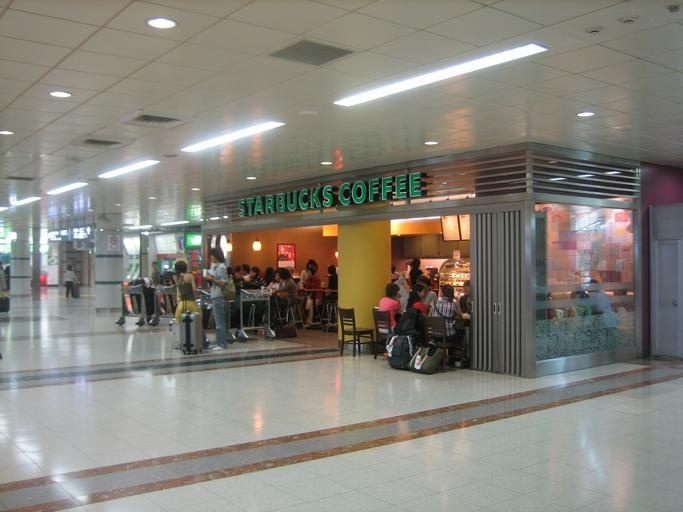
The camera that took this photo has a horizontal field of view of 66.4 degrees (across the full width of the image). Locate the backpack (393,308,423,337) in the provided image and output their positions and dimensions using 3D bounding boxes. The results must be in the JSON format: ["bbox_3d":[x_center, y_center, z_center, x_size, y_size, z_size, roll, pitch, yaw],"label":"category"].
[{"bbox_3d":[1.180,1.174,9.106,0.560,0.458,0.303,2,-14,37],"label":"backpack"}]

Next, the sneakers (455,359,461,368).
[{"bbox_3d":[2.121,1.935,9.325,0.132,0.108,0.101,-1,-5,19],"label":"sneakers"}]

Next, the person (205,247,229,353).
[{"bbox_3d":[-2.613,0.918,11.104,0.419,2.120,0.560,-2,-3,-13],"label":"person"}]

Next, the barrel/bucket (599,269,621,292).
[{"bbox_3d":[4.977,0.444,9.618,0.465,0.355,0.446,-2,7,0],"label":"barrel/bucket"}]

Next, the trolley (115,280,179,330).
[{"bbox_3d":[-5.513,1.450,16.016,2.073,1.146,1.970,4,-5,-42],"label":"trolley"}]

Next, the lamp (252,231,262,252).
[{"bbox_3d":[-2.657,-0.413,16.575,0.340,0.622,0.754,-2,-3,-8],"label":"lamp"}]

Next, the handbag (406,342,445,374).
[{"bbox_3d":[1.433,1.738,8.678,0.661,0.478,0.449,9,-9,-31],"label":"handbag"}]

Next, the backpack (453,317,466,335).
[{"bbox_3d":[2.057,1.222,9.092,0.258,0.372,0.219,-1,28,4],"label":"backpack"}]

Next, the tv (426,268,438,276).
[{"bbox_3d":[2.813,0.491,15.990,0.397,0.285,0.231,0,-11,-3],"label":"tv"}]

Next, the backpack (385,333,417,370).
[{"bbox_3d":[1.082,1.612,9.311,0.549,0.607,0.714,2,11,11],"label":"backpack"}]

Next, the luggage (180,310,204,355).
[{"bbox_3d":[-3.031,1.552,10.502,0.451,0.825,0.291,-2,-3,-5],"label":"luggage"}]

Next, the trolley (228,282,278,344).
[{"bbox_3d":[-1.991,1.505,13.339,1.469,1.326,1.032,-2,-12,16],"label":"trolley"}]
